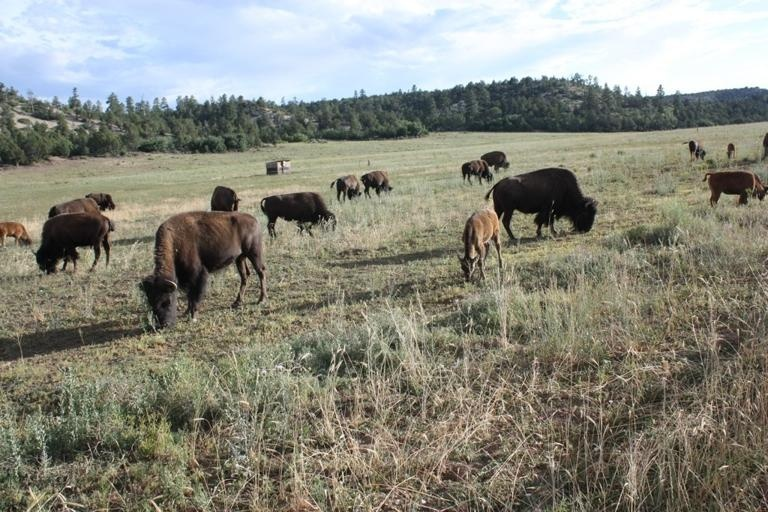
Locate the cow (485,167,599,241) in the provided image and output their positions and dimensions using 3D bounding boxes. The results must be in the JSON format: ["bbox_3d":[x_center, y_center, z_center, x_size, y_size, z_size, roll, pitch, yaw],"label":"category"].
[{"bbox_3d":[5.420,-1.819,22.218,3.082,2.223,1.109,-7,7,1],"label":"cow"}]

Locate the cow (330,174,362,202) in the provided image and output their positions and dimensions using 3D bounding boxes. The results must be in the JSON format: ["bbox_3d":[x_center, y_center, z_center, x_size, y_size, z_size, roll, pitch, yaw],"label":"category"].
[{"bbox_3d":[-2.048,-3.877,37.224,1.111,1.349,2.146,-5,8,14],"label":"cow"}]

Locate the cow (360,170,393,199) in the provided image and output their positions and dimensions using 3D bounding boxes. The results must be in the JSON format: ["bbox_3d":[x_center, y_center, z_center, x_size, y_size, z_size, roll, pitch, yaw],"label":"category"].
[{"bbox_3d":[-0.430,-4.333,38.992,1.905,1.352,1.234,-2,9,34],"label":"cow"}]
